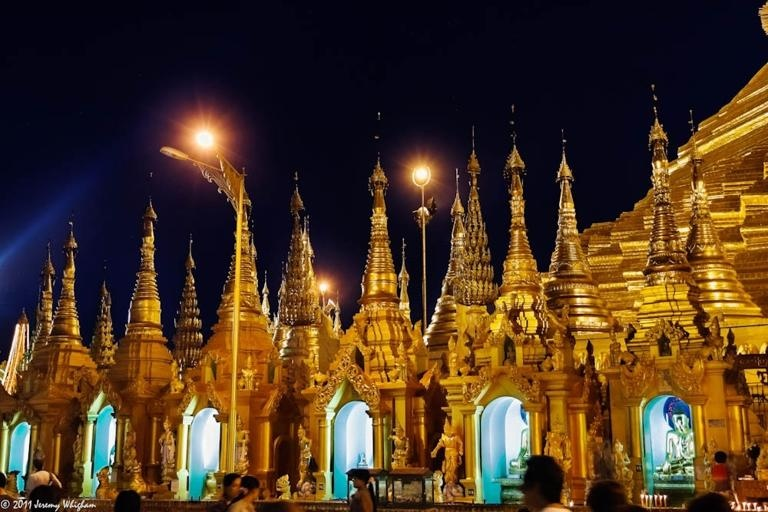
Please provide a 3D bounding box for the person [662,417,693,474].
[{"bbox_3d":[8.369,5.374,28.521,0.293,1.679,0.964,21,-30,-40],"label":"person"}]

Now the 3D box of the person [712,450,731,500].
[{"bbox_3d":[8.616,5.625,25.507,0.525,1.397,0.431,0,7,35],"label":"person"}]

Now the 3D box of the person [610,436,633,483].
[{"bbox_3d":[6.749,5.811,28.287,0.525,1.186,0.451,-5,-23,12],"label":"person"}]

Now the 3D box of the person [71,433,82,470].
[{"bbox_3d":[-10.677,6.785,34.980,0.428,1.238,0.229,-17,-28,35],"label":"person"}]

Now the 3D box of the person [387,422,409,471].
[{"bbox_3d":[0.470,5.697,30.185,0.595,1.381,0.642,1,-23,-1],"label":"person"}]

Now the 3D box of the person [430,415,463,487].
[{"bbox_3d":[1.996,5.870,29.541,0.772,1.879,0.587,21,-30,-40],"label":"person"}]
